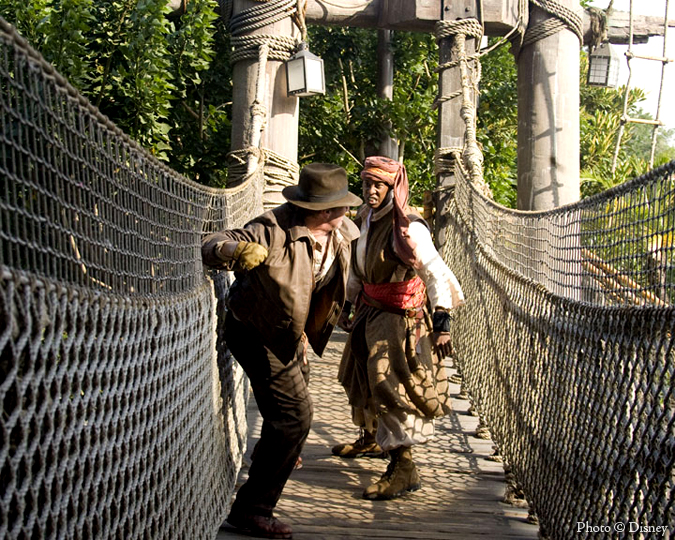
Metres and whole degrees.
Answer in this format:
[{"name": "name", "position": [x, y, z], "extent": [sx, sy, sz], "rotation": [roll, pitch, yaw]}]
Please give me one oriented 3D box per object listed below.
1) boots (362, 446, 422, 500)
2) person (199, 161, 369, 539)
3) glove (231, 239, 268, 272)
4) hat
[{"name": "boots", "position": [0.315, 1.079, 4.411], "extent": [0.388, 0.333, 0.146], "rotation": [2, -5, -44]}, {"name": "person", "position": [-0.257, 0.369, 3.893], "extent": [0.798, 1.728, 0.613], "rotation": [-1, 5, -22]}, {"name": "glove", "position": [-0.362, -0.056, 3.513], "extent": [0.128, 0.116, 0.074], "rotation": [0, 5, -10]}, {"name": "hat", "position": [-0.042, -0.397, 3.851], "extent": [0.233, 0.118, 0.273], "rotation": [21, 25, 25]}]
